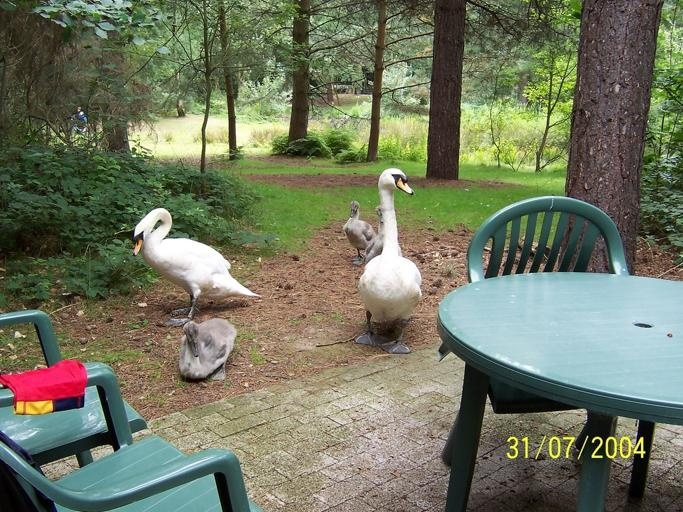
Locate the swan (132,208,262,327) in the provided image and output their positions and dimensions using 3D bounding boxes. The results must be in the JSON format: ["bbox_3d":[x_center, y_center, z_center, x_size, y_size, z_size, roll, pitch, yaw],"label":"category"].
[{"bbox_3d":[-1.672,0.104,6.885,1.090,1.244,0.535,-3,13,-11],"label":"swan"}]

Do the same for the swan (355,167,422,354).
[{"bbox_3d":[0.467,0.049,6.299,0.662,1.826,0.935,-1,12,2],"label":"swan"}]
